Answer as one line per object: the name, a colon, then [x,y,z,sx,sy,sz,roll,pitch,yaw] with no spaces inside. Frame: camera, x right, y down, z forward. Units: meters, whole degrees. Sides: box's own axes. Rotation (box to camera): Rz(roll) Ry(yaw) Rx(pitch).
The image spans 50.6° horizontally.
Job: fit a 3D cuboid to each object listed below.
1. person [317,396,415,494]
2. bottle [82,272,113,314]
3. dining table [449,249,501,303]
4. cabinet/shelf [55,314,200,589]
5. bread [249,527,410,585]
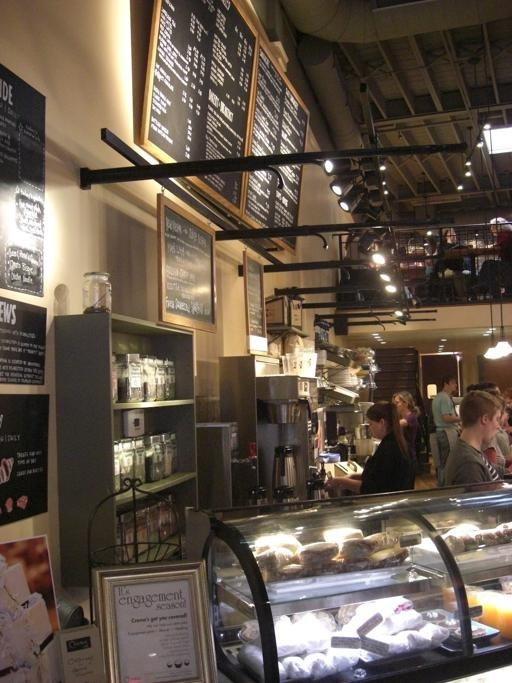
person: [0.673,0.720,3.065,0.489,0.747,0.411,-6,-7,18]
bottle: [-0.580,-0.185,1.977,0.103,0.135,0.246,4,11,-18]
dining table: [4.233,-1.232,10.387,1.087,1.128,0.859,-1,7,12]
cabinet/shelf: [-0.469,0.401,1.942,0.236,1.051,0.924,-4,-6,8]
bread: [0.181,0.475,1.260,0.270,0.067,0.146,-5,5,-19]
